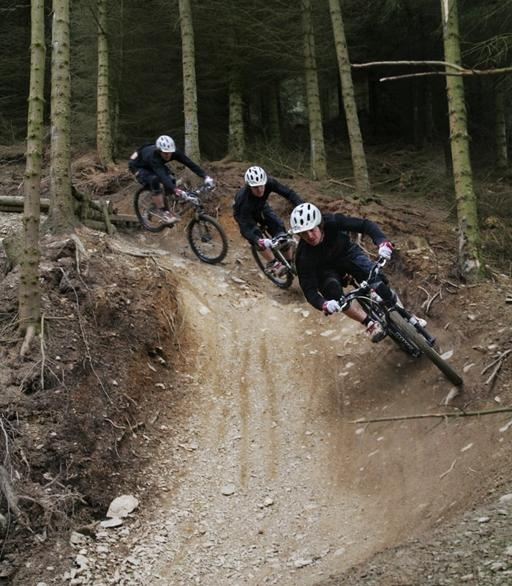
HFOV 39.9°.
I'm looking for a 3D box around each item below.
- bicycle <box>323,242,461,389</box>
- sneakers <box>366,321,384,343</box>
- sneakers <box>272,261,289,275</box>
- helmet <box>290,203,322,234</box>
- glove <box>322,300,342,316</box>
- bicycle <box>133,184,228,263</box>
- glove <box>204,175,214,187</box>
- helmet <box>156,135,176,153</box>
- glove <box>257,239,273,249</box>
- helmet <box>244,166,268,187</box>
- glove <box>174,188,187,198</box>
[{"bbox_3d":[2.087,0.160,9.539,1.020,1.339,2.134,-50,14,1],"label":"bicycle"},{"bbox_3d":[1.585,0.495,9.320,0.189,0.187,0.316,26,18,-7],"label":"sneakers"},{"bbox_3d":[0.404,-0.423,12.051,0.149,0.136,0.313,-38,13,-11],"label":"sneakers"},{"bbox_3d":[0.658,-1.007,9.213,0.347,0.210,0.433,-1,40,16],"label":"helmet"},{"bbox_3d":[1.021,0.182,9.176,0.187,0.083,0.241,-9,0,26],"label":"glove"},{"bbox_3d":[-1.452,-1.249,13.049,1.809,1.014,0.839,35,42,21],"label":"bicycle"},{"bbox_3d":[-0.816,-1.943,12.254,0.143,0.203,0.236,-7,5,-8],"label":"glove"},{"bbox_3d":[-1.605,-2.624,12.479,0.348,0.351,0.604,-7,4,-7],"label":"helmet"},{"bbox_3d":[0.153,-0.808,11.542,0.195,0.164,0.413,-7,5,-14],"label":"glove"},{"bbox_3d":[0.004,-1.875,11.380,0.342,0.323,0.321,-6,5,1],"label":"helmet"},{"bbox_3d":[-1.310,-1.744,12.269,0.249,0.082,0.186,34,12,25],"label":"glove"}]
